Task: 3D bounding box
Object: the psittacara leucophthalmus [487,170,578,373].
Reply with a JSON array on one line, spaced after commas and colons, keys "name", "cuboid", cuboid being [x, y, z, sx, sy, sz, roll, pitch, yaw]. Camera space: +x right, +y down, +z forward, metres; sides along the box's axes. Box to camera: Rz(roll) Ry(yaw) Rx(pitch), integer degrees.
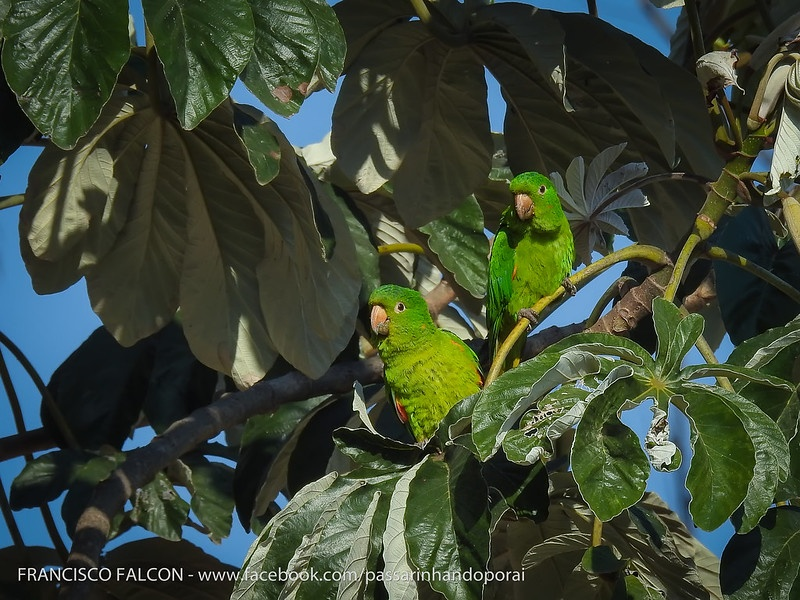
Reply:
[{"name": "psittacara leucophthalmus", "cuboid": [0.361, -0.084, 3.085, 0.232, 0.512, 0.256, 12, 21, 7]}]
